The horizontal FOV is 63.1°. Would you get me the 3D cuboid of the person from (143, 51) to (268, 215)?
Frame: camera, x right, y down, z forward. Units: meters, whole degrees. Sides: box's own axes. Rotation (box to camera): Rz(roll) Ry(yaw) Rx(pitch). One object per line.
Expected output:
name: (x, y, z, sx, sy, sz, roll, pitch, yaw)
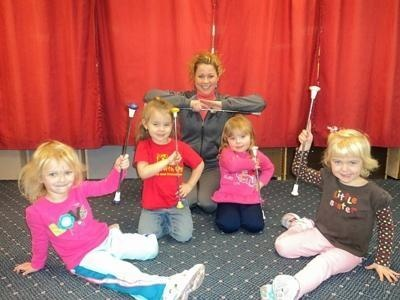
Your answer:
person: (0.017, -0.097, 2.446, 0.951, 1.146, 0.623, 6, 13, 8)
